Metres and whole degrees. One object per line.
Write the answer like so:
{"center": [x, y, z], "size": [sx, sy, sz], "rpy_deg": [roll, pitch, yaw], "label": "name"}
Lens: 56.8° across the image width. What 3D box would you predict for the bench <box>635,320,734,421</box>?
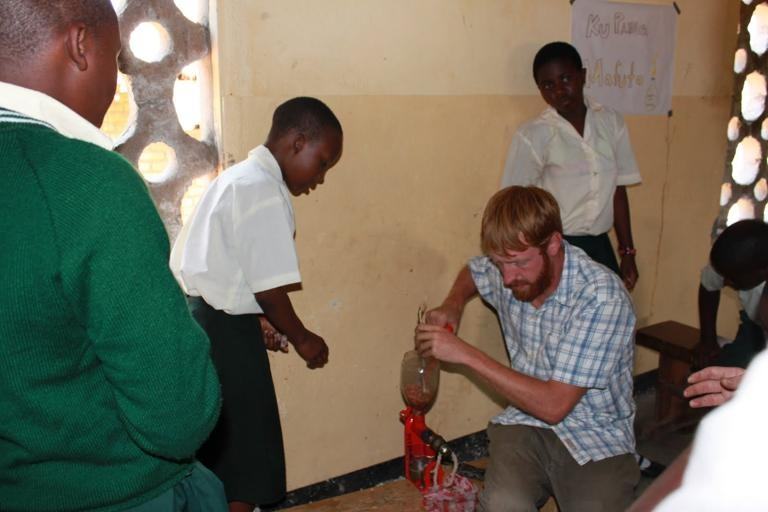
{"center": [1.695, 0.760, 3.889], "size": [0.393, 0.481, 0.533], "rpy_deg": [-2, -18, 40], "label": "bench"}
